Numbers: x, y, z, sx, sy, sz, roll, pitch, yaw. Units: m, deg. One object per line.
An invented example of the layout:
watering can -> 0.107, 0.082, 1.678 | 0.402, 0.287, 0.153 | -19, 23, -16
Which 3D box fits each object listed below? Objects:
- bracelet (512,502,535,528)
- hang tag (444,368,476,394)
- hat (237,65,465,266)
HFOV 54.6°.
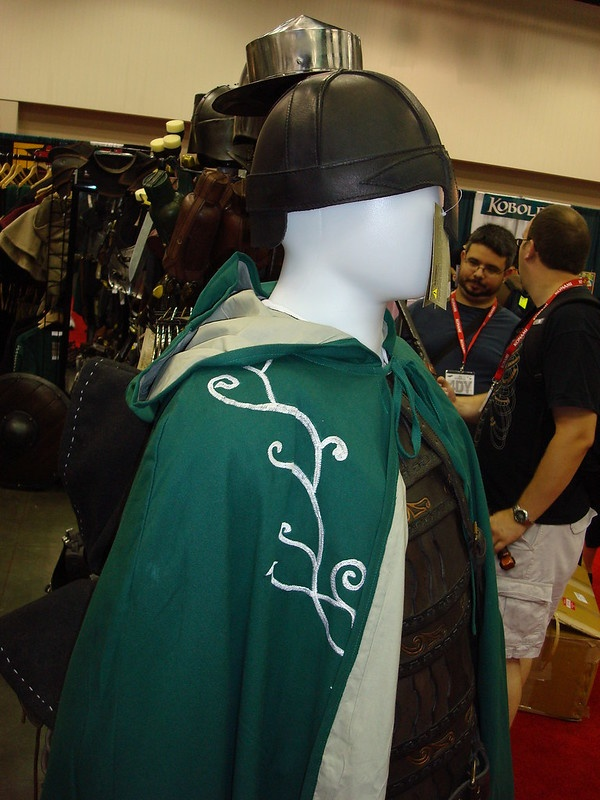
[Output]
bracelet -> 0.585, 0.302, 1.531 | 0.046, 0.035, 0.060 | 36, 17, 27
hang tag -> 0.636, -0.076, 2.315 | 0.098, 0.105, 0.014 | 2, -6, -2
hat -> 0.065, -0.302, 0.760 | 0.262, 0.233, 0.259 | -2, 23, 4
